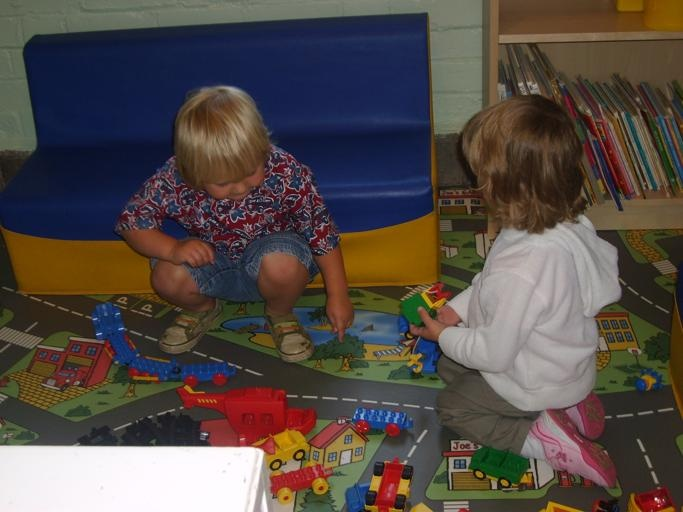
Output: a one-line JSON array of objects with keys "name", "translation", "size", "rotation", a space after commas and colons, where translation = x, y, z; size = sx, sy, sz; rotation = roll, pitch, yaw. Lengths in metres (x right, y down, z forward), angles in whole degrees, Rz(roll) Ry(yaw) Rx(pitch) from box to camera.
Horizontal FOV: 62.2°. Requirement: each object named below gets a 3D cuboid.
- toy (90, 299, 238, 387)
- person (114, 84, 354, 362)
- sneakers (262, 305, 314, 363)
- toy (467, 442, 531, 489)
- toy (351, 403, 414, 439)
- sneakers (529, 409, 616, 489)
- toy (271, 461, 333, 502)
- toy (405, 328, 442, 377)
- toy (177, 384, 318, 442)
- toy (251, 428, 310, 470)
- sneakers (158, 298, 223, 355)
[{"name": "toy", "translation": [-0.574, 0.292, 2.043], "size": [0.716, 0.281, 0.195], "rotation": [3, 33, 7]}, {"name": "person", "translation": [-0.306, -0.122, 1.988], "size": [0.894, 0.760, 0.546], "rotation": [7, 28, 8]}, {"name": "sneakers", "translation": [-0.198, 0.269, 2.088], "size": [0.144, 0.102, 0.326], "rotation": [-14, 27, -16]}, {"name": "toy", "translation": [0.444, 0.584, 1.584], "size": [0.148, 0.051, 0.086], "rotation": [13, 42, 16]}, {"name": "toy", "translation": [0.128, 0.493, 1.723], "size": [0.168, 0.041, 0.081], "rotation": [3, 24, 4]}, {"name": "sneakers", "translation": [0.642, 0.526, 1.610], "size": [0.129, 0.281, 0.123], "rotation": [-37, 10, 43]}, {"name": "toy", "translation": [-0.110, 0.629, 1.566], "size": [0.165, 0.043, 0.074], "rotation": [-6, 38, -12]}, {"name": "toy", "translation": [0.278, 0.339, 1.936], "size": [0.118, 0.040, 0.129], "rotation": [1, 52, 18]}, {"name": "toy", "translation": [-0.281, 0.487, 1.747], "size": [0.438, 0.145, 0.116], "rotation": [-1, 7, 8]}, {"name": "toy", "translation": [-0.173, 0.565, 1.685], "size": [0.146, 0.078, 0.115], "rotation": [-12, 20, -19]}, {"name": "sneakers", "translation": [-0.551, 0.256, 2.144], "size": [0.105, 0.096, 0.263], "rotation": [27, 43, 14]}]
